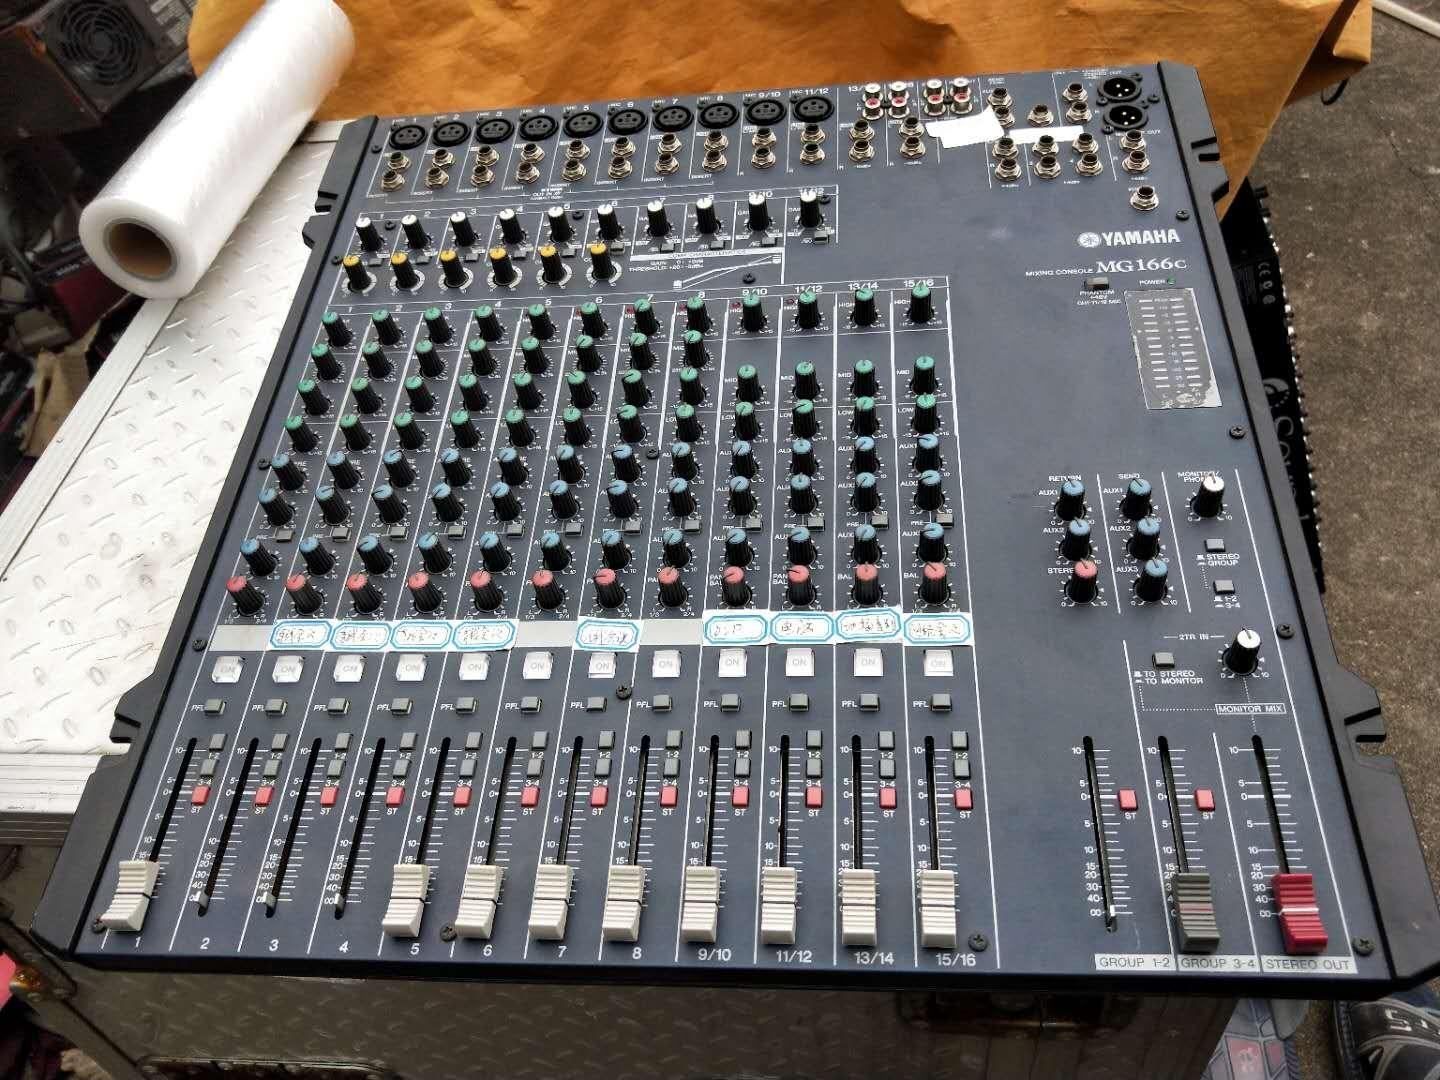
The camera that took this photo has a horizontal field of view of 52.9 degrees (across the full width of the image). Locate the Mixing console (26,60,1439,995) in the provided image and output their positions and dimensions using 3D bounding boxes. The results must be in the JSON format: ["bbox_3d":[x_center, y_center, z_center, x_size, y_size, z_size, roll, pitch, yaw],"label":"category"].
[{"bbox_3d":[0.159,-0.188,5.170,4.087,0.299,3.424,-1,61,5],"label":"Mixing console"}]
